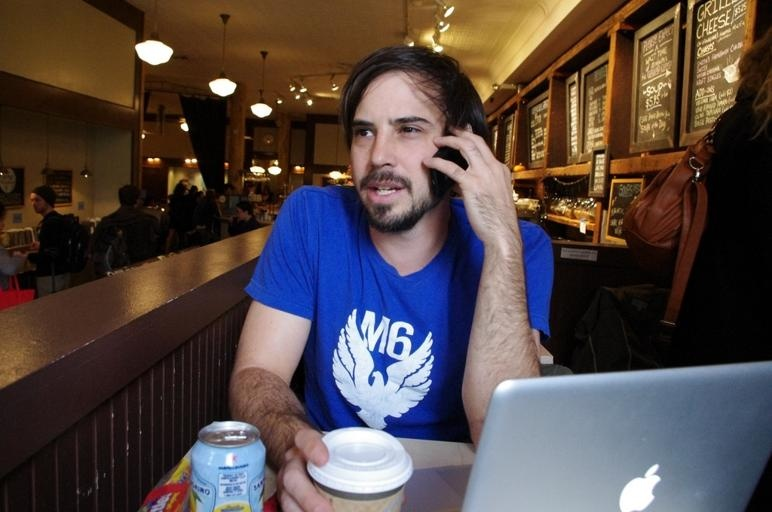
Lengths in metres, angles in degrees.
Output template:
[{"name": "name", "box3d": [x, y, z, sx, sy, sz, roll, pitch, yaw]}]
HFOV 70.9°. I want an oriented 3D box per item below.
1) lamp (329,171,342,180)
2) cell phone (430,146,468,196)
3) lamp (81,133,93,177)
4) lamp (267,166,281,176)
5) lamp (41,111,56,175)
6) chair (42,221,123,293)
[{"name": "lamp", "box3d": [-1.586, -2.614, 17.657, 0.488, 0.154, 0.512, -4, 16, -22]}, {"name": "cell phone", "box3d": [0.214, -0.292, 1.891, 0.147, 0.164, 0.055, -17, 15, -34]}, {"name": "lamp", "box3d": [-4.750, -1.600, 8.592, 0.132, 0.758, 0.324, -1, 8, -9]}, {"name": "lamp", "box3d": [-3.586, -2.764, 17.564, 0.561, 0.160, 0.604, -3, 1, -7]}, {"name": "lamp", "box3d": [-4.915, -1.584, 7.874, 0.098, 0.826, 0.292, 0, 8, -8]}, {"name": "chair", "box3d": [-2.955, -0.025, 5.251, 0.475, 0.767, 0.687, 13, 5, -8]}]
